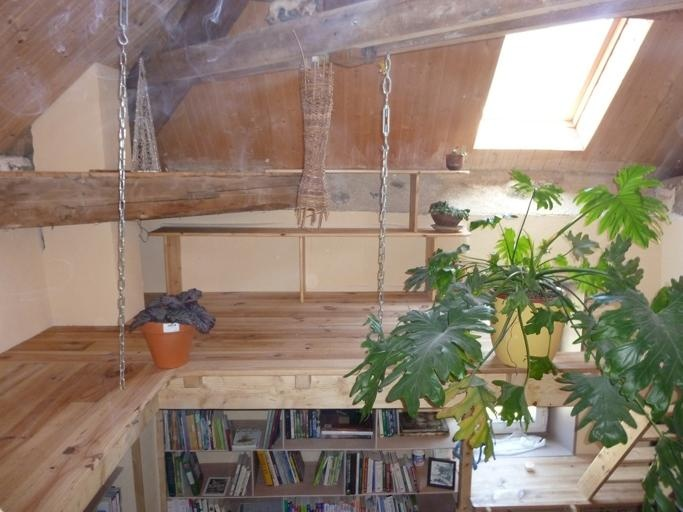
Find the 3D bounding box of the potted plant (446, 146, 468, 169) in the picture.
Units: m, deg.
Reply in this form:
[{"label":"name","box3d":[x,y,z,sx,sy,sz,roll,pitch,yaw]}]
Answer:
[{"label":"potted plant","box3d":[0.960,-0.829,4.252,0.195,0.174,0.173,0,4,9]}]

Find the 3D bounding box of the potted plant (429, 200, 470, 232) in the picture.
[{"label":"potted plant","box3d":[0.885,-0.340,4.318,0.288,0.167,0.274,1,2,-5]}]

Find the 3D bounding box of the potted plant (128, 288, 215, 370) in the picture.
[{"label":"potted plant","box3d":[-1.035,0.452,3.121,0.480,0.498,0.263,1,3,-20]}]
